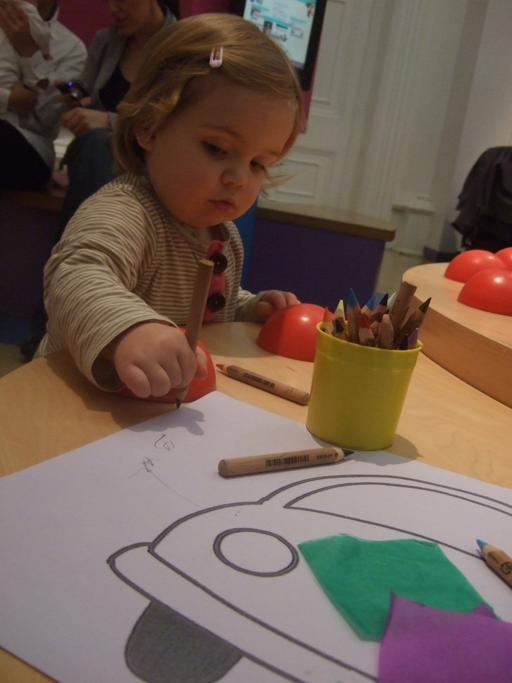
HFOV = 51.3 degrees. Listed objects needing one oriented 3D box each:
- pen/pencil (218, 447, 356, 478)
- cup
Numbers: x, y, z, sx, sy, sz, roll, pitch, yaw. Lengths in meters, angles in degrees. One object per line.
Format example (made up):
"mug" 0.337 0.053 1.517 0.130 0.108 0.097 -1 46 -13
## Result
"pen/pencil" 0.020 0.092 0.404 0.105 0.015 0.014 -4 4 -26
"cup" 0.093 0.033 0.474 0.087 0.097 0.087 5 22 -2
